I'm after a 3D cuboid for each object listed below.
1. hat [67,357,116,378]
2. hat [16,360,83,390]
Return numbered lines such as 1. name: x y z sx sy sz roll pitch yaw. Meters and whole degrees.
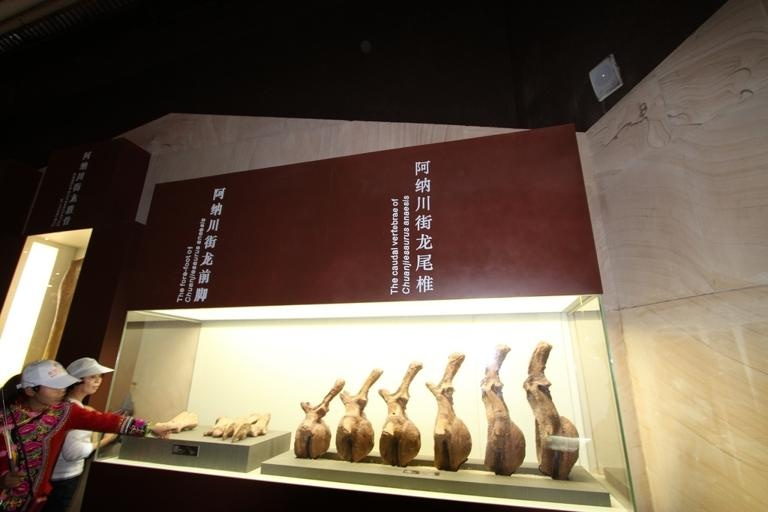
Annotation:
1. hat: -2.267 0.841 3.606 0.230 0.081 0.164 -4 -9 11
2. hat: -2.338 0.796 3.325 0.308 0.155 0.205 2 -8 -25
